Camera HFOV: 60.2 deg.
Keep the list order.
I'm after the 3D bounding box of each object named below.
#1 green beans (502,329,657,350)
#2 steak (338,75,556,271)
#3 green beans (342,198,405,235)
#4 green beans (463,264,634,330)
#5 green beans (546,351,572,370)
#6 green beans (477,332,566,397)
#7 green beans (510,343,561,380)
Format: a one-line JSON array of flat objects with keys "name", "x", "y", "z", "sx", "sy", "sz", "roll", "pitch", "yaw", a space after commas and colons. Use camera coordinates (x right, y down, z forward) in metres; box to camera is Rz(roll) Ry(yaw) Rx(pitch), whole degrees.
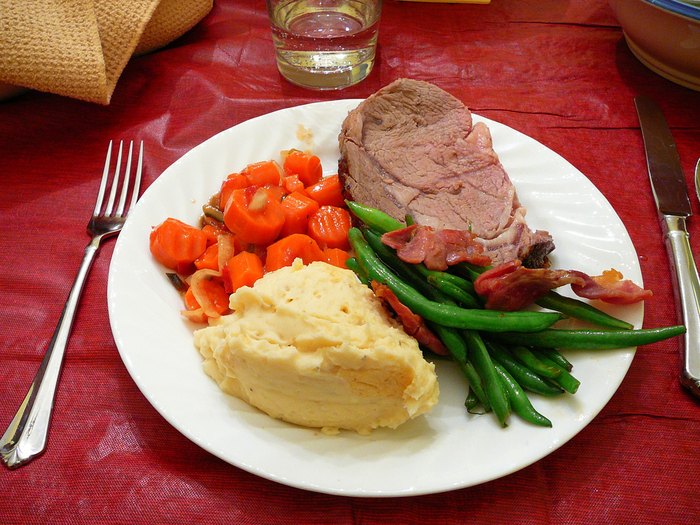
[{"name": "green beans", "x": 0.865, "y": 0.287, "z": 2.284, "sx": 0.461, "sy": 0.054, "sz": 0.055, "roll": 2, "pitch": 34, "yaw": 3}, {"name": "steak", "x": 0.471, "y": -0.288, "z": 2.958, "sx": 0.735, "sy": 0.249, "sz": 1.066, "roll": -33, "pitch": 61, "yaw": -17}, {"name": "green beans", "x": 0.109, "y": -0.185, "z": 2.604, "sx": 0.330, "sy": 0.085, "sz": 0.098, "roll": 28, "pitch": -4, "yaw": 13}, {"name": "green beans", "x": 0.750, "y": 0.141, "z": 2.329, "sx": 0.503, "sy": 0.065, "sz": 0.059, "roll": 21, "pitch": 35, "yaw": 16}, {"name": "green beans", "x": 0.785, "y": 0.363, "z": 2.283, "sx": 0.037, "sy": 0.034, "sz": 0.126, "roll": -24, "pitch": 43, "yaw": -14}, {"name": "green beans", "x": 0.648, "y": 0.404, "z": 2.274, "sx": 0.219, "sy": 0.173, "sz": 0.281, "roll": -7, "pitch": 22, "yaw": -28}, {"name": "green beans", "x": 0.695, "y": 0.357, "z": 2.264, "sx": 0.149, "sy": 0.094, "sz": 0.115, "roll": 2, "pitch": 19, "yaw": 7}]
